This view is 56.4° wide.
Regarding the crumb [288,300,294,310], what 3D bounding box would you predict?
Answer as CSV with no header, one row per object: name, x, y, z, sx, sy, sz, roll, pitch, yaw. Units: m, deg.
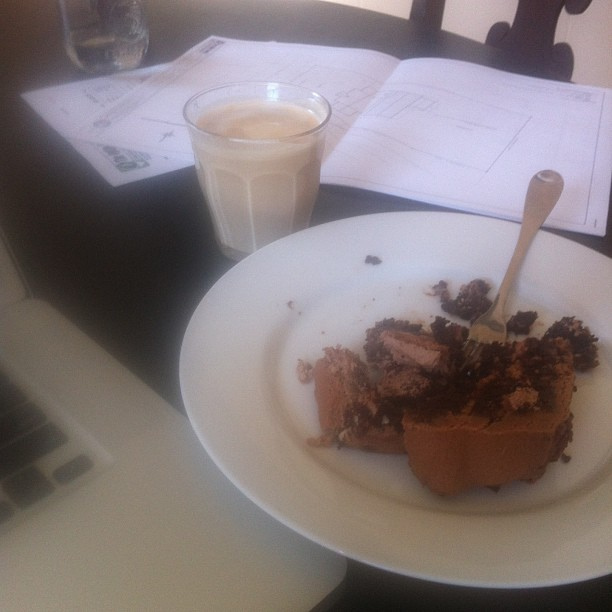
crumb,-0.014,-0.001,0.554,0.005,0.002,0.006,-5,56,-34

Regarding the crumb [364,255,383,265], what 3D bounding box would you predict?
crumb,0.072,-0.049,0.604,0.015,0.003,0.008,10,61,-3

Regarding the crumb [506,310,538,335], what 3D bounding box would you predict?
crumb,0.215,0.016,0.562,0.024,0.006,0.024,-32,57,13

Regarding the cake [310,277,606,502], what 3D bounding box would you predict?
cake,0.140,0.061,0.501,0.210,0.044,0.271,28,47,29

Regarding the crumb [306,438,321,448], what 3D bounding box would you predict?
crumb,0.007,0.108,0.450,0.012,0.004,0.006,-3,40,-4

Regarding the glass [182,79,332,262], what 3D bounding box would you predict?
glass,-0.047,-0.154,0.639,0.155,0.148,0.141,-8,41,-9

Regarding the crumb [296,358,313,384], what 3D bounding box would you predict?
crumb,-0.002,0.057,0.502,0.015,0.007,0.019,-3,66,0

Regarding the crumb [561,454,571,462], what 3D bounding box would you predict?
crumb,0.205,0.118,0.446,0.003,0.003,0.006,-34,47,-8
